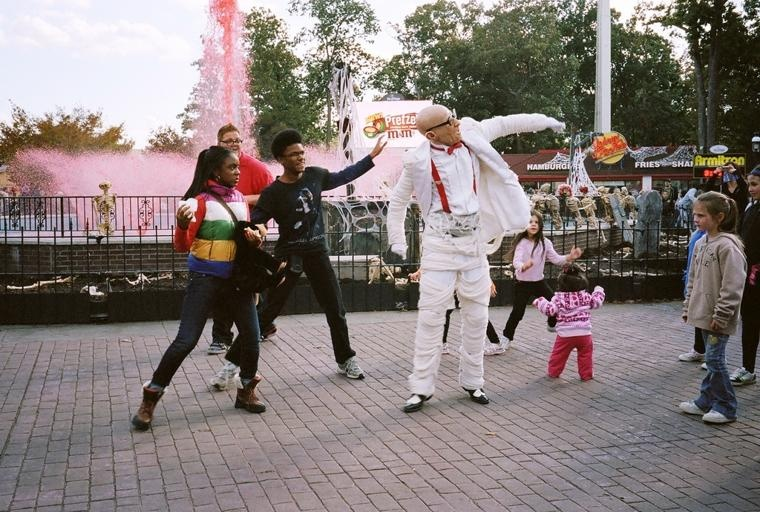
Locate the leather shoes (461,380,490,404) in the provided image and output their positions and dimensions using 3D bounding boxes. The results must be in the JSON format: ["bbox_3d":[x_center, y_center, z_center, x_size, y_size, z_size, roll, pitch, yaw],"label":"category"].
[{"bbox_3d":[0.949,1.377,6.184,0.129,0.139,0.339,-4,6,-33],"label":"leather shoes"}]

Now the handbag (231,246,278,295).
[{"bbox_3d":[-1.168,0.137,5.735,0.480,0.450,0.337,4,12,-16],"label":"handbag"}]

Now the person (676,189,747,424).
[{"bbox_3d":[3.174,0.463,5.822,0.515,2.093,0.778,3,10,17],"label":"person"}]

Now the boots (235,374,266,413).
[{"bbox_3d":[-1.227,1.340,5.925,0.375,0.338,0.175,6,0,30],"label":"boots"}]

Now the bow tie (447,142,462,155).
[{"bbox_3d":[0.717,-1.046,5.979,0.133,0.126,0.043,19,-21,-8],"label":"bow tie"}]

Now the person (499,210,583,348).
[{"bbox_3d":[2.039,0.312,7.899,1.145,1.688,0.907,-2,3,2],"label":"person"}]

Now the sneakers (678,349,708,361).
[{"bbox_3d":[3.757,1.201,7.421,0.300,0.123,0.113,3,2,5],"label":"sneakers"}]

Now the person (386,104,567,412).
[{"bbox_3d":[0.804,-0.005,6.096,1.394,2.928,0.645,-3,10,-17],"label":"person"}]

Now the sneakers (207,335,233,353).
[{"bbox_3d":[-2.012,1.126,7.668,0.182,0.215,0.490,-2,-9,12],"label":"sneakers"}]

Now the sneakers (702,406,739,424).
[{"bbox_3d":[3.144,1.492,5.724,0.322,0.130,0.115,4,0,-6],"label":"sneakers"}]

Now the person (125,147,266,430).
[{"bbox_3d":[-1.614,0.258,5.654,1.013,2.485,0.509,-3,10,-19],"label":"person"}]

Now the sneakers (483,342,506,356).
[{"bbox_3d":[1.420,1.185,7.763,0.287,0.126,0.118,2,-35,-5],"label":"sneakers"}]

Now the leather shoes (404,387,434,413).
[{"bbox_3d":[0.412,1.414,5.988,0.124,0.149,0.375,2,3,45],"label":"leather shoes"}]

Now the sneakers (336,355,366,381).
[{"bbox_3d":[-0.305,1.249,6.834,0.382,0.247,0.166,5,8,30],"label":"sneakers"}]

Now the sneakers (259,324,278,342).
[{"bbox_3d":[-1.462,1.023,8.110,0.159,0.181,0.435,-2,-18,-19],"label":"sneakers"}]

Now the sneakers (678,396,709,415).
[{"bbox_3d":[2.986,1.451,5.907,0.261,0.115,0.099,5,9,13],"label":"sneakers"}]

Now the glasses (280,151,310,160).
[{"bbox_3d":[-0.867,-1.040,6.405,0.246,0.093,0.126,-6,11,-34],"label":"glasses"}]

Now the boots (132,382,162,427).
[{"bbox_3d":[-2.107,1.377,5.621,0.122,0.353,0.244,11,-25,-10],"label":"boots"}]

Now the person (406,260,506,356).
[{"bbox_3d":[0.817,0.630,6.867,1.110,1.655,0.508,-2,21,3],"label":"person"}]

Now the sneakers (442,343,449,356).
[{"bbox_3d":[0.865,1.189,7.816,0.113,0.121,0.278,-1,-5,8],"label":"sneakers"}]
